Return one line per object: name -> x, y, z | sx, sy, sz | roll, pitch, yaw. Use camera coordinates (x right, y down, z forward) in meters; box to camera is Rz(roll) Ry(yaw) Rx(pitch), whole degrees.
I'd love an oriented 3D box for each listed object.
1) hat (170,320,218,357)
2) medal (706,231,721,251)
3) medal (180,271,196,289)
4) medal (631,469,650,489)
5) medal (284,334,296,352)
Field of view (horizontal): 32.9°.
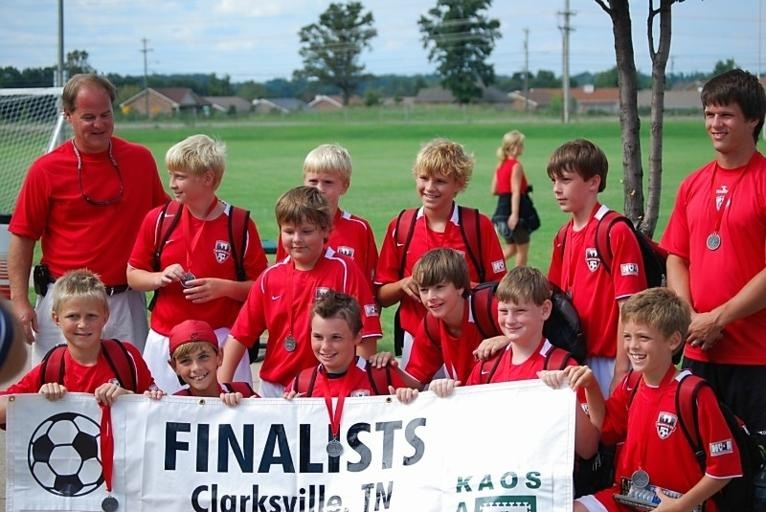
hat -> -1.648, 0.689, 11.166 | 0.328, 0.205, 0.326 | -11, -12, -5
medal -> 2.879, -0.124, 11.220 | 0.163, 0.229, 0.026 | -1, -12, 41
medal -> -1.748, 0.223, 11.656 | 0.134, 0.135, 0.117 | -1, 4, -9
medal -> 2.150, 1.874, 10.793 | 0.141, 0.137, 0.135 | 0, -9, 1
medal -> -0.814, 0.776, 11.416 | 0.145, 0.191, 0.031 | 3, 6, 17
